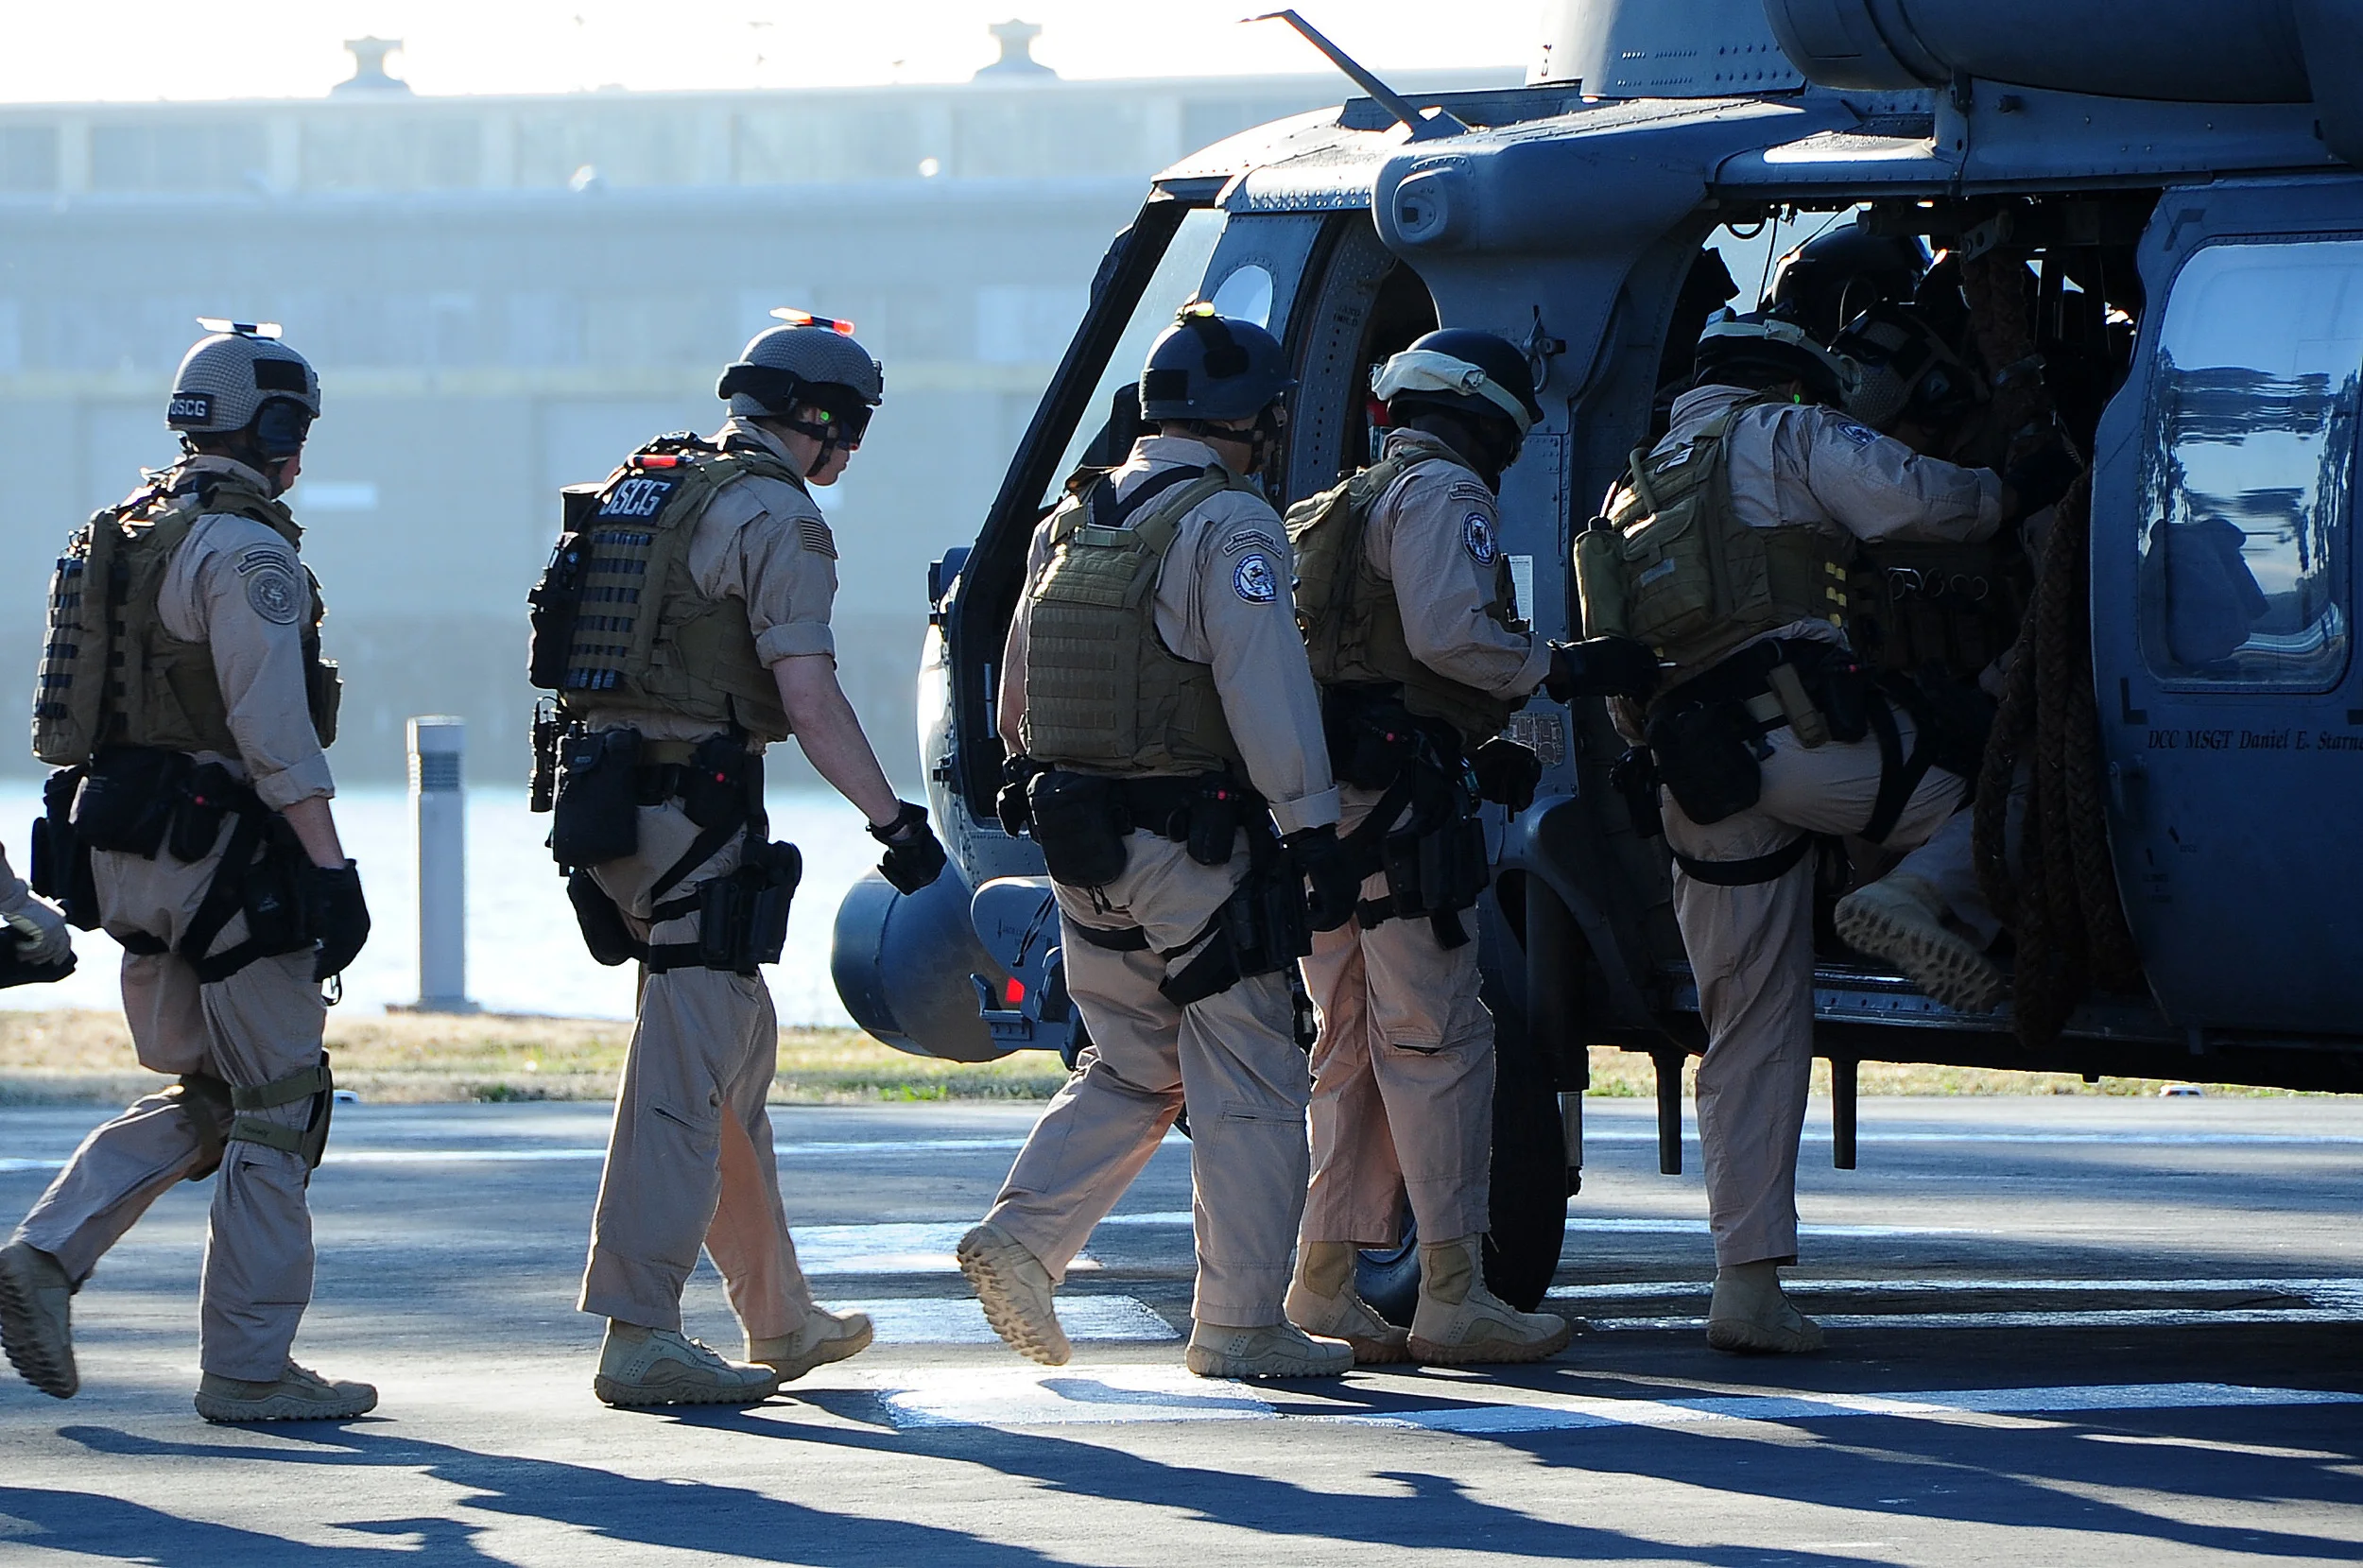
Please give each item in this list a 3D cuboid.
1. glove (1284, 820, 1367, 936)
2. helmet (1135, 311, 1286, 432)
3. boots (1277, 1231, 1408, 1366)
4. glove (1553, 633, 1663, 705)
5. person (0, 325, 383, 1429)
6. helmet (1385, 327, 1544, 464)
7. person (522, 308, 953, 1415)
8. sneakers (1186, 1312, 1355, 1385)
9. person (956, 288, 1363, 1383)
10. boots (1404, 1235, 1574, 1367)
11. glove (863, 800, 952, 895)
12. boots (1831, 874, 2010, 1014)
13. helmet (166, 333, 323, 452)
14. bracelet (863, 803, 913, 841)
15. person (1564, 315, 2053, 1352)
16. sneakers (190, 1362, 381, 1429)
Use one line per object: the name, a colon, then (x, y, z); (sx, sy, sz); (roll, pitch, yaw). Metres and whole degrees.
glove: (0.364, 0.253, 12.511); (0.201, 0.251, 0.107); (-2, 13, 40)
helmet: (0.086, -1.066, 12.692); (0.383, 0.316, 0.285); (10, -1, -22)
boots: (0.476, 1.384, 13.071); (0.386, 0.335, 0.172); (4, -5, -16)
glove: (1.123, -0.306, 12.866); (0.233, 0.107, 0.170); (1, -2, -22)
person: (-2.589, 0.211, 12.591); (0.962, 2.821, 0.703); (0, 2, -10)
helmet: (0.731, -1.034, 13.024); (0.403, 0.284, 0.319); (18, -3, 0)
person: (-1.227, 0.194, 12.610); (0.967, 2.835, 0.612); (0, 2, -8)
sneakers: (0.216, 1.488, 12.741); (0.451, 0.196, 0.156); (-1, 6, -6)
person: (-0.052, 0.157, 12.702); (1.006, 2.804, 0.500); (1, 2, 3)
boots: (0.816, 1.380, 13.004); (0.514, 0.342, 0.165); (4, -4, -33)
glove: (-0.712, 0.150, 12.483); (0.182, 0.233, 0.099); (-32, 22, 12)
boots: (1.912, 0.420, 12.680); (0.516, 0.210, 0.251); (31, 41, 22)
helmet: (-2.483, -1.017, 12.769); (0.374, 0.301, 0.352); (-7, 16, -25)
bracelet: (-0.757, 0.105, 12.413); (0.166, 0.102, 0.137); (1, 2, 18)
person: (1.569, 0.144, 12.884); (1.070, 2.759, 0.450); (1, 2, 6)
sneakers: (-2.310, 1.548, 12.422); (0.478, 0.191, 0.159); (-2, 5, -14)
